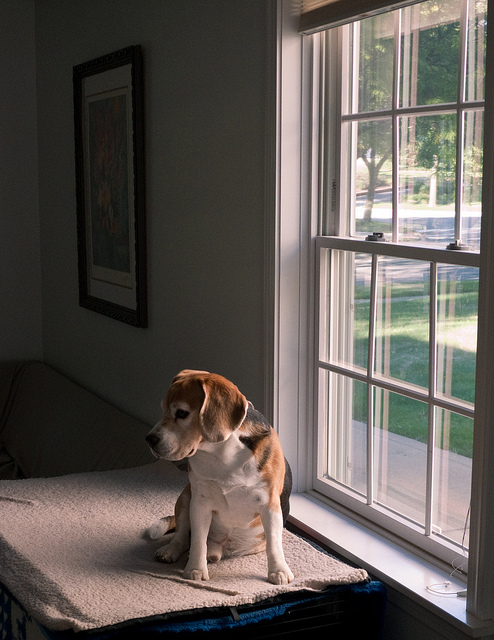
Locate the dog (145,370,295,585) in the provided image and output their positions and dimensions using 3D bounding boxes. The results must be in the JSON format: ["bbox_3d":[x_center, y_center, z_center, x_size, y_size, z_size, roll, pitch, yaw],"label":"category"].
[{"bbox_3d":[-0.028,0.291,1.201,0.339,0.487,0.373,-1,-6,10],"label":"dog"}]
